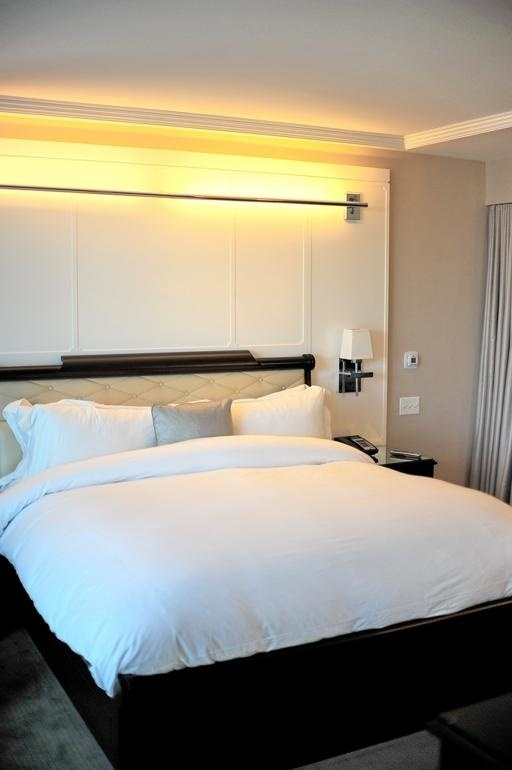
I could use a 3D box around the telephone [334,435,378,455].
[{"bbox_3d":[0.659,0.384,3.628,0.139,0.051,0.189,0,9,-25],"label":"telephone"}]
